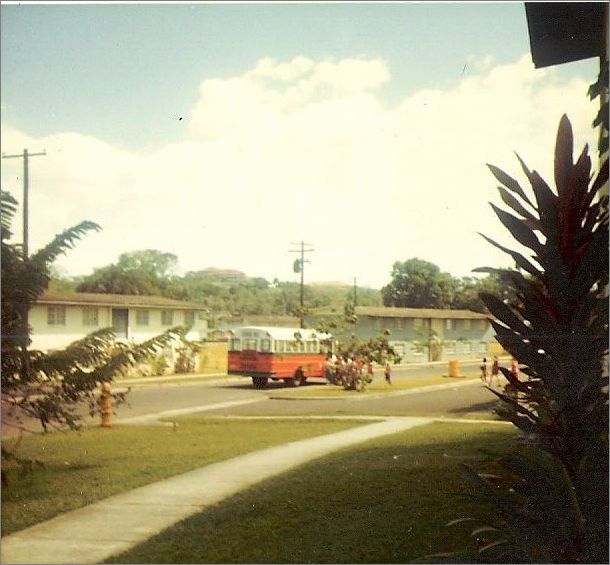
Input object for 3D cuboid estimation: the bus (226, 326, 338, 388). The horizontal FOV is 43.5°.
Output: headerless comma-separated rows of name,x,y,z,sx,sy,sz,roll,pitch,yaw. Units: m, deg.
bus,-0.786,2.570,26.330,3.523,2.066,1.747,2,-5,-28
